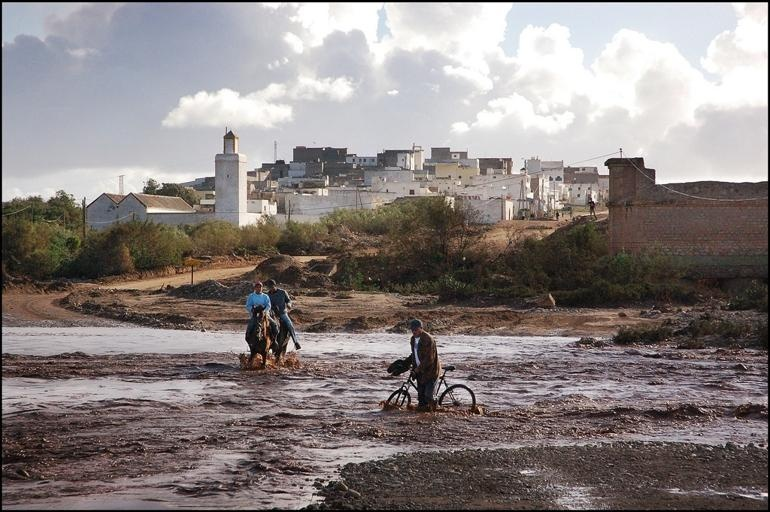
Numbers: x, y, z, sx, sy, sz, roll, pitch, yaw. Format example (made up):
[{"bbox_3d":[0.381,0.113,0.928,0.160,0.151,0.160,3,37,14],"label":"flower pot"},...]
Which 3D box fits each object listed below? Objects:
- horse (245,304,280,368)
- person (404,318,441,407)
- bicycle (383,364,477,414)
[{"bbox_3d":[-3.834,2.517,31.532,0.532,1.950,1.109,4,8,35],"label":"horse"},{"bbox_3d":[1.039,2.894,26.243,0.695,2.545,0.944,2,7,17],"label":"person"},{"bbox_3d":[1.245,3.725,27.390,2.392,1.458,1.232,2,13,0],"label":"bicycle"}]
